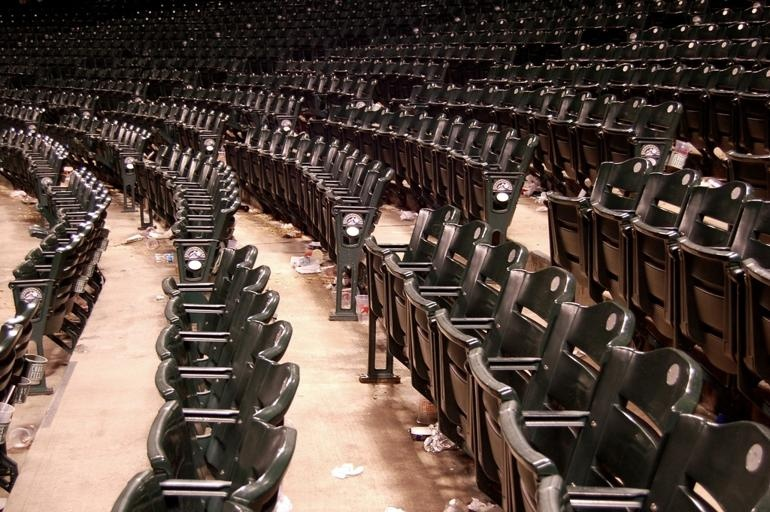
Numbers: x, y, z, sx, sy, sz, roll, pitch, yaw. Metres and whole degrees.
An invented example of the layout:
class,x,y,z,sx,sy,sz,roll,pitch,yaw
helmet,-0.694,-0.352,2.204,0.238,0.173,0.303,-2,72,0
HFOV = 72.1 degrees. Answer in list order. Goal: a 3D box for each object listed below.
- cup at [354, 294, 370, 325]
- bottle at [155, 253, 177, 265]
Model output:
class,x,y,z,sx,sy,sz,roll,pitch,yaw
cup,-0.163,0.369,3.769,0.123,0.164,0.176,0,-3,-1
bottle,-2.068,0.024,4.975,0.188,0.048,0.244,-6,17,-24
